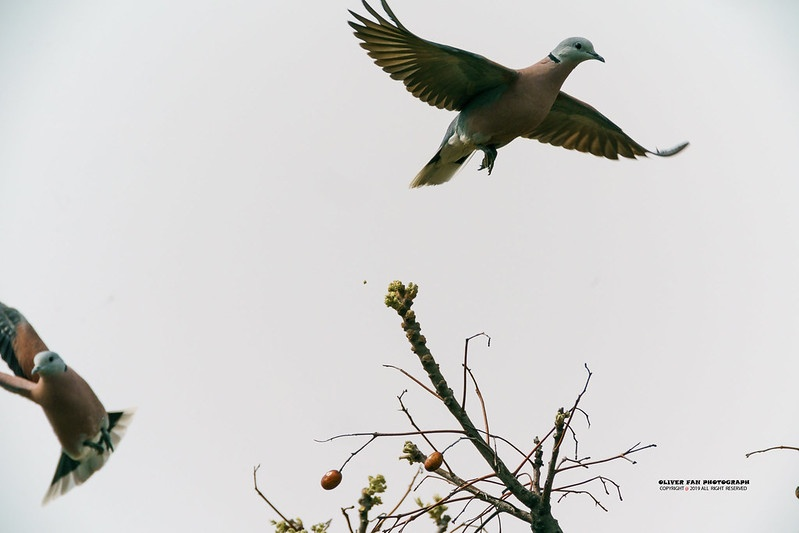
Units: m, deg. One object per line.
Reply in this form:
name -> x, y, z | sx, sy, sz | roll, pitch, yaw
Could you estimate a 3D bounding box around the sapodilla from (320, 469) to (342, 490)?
sapodilla -> -0.466, 1.479, 9.858 | 0.113, 0.152, 0.135 | -2, -53, 3
